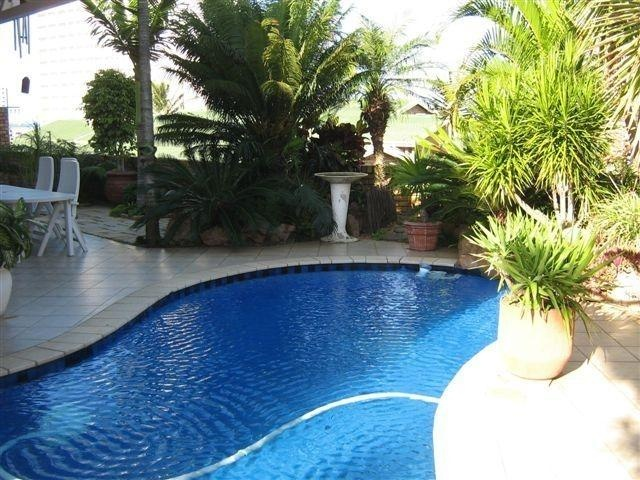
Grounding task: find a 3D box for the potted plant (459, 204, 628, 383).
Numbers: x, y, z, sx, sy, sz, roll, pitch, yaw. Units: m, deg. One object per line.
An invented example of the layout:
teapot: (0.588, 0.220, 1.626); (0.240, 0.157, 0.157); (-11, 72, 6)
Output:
potted plant: (2.297, 0.538, 4.367); (1.622, 1.650, 1.619); (0, 12, 1)
